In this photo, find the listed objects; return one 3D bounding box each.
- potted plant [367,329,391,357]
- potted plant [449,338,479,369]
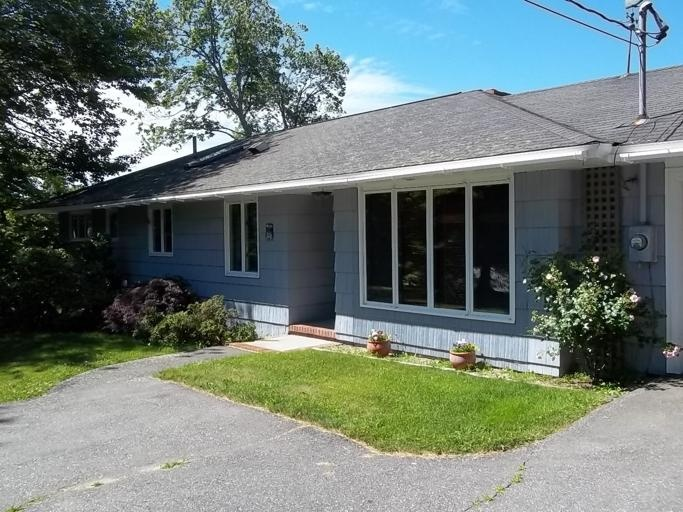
[{"bbox_3d":[0.728,1.713,10.682,0.456,0.332,0.477,0,-7,-2],"label":"potted plant"},{"bbox_3d":[2.106,1.724,9.468,0.474,0.509,0.461,9,-13,-42],"label":"potted plant"}]
